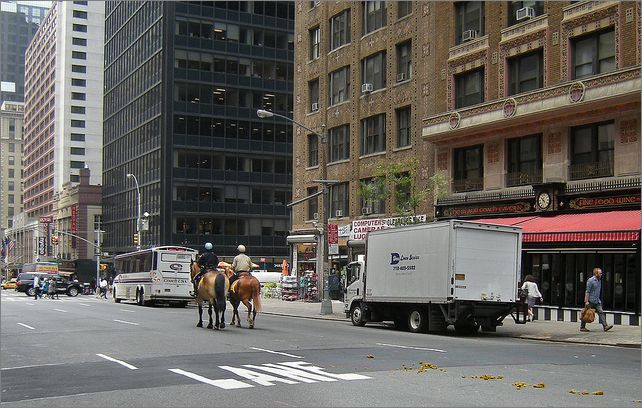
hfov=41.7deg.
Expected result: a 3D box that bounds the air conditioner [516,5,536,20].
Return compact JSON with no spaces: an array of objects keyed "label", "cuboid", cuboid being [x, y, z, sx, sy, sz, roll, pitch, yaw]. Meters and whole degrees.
[{"label":"air conditioner","cuboid":[13.366,-12.491,54.854,1.173,1.018,0.634,-2,-11,17]}]

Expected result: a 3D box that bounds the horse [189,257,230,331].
[{"label":"horse","cuboid":[-6.395,5.033,47.559,1.180,4.026,4.966,-3,-3,-27]}]

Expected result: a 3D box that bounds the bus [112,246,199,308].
[{"label":"bus","cuboid":[-13.572,6.118,66.766,4.011,4.472,11.662,8,-13,-32]}]

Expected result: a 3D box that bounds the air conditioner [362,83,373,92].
[{"label":"air conditioner","cuboid":[3.618,-9.128,66.167,0.563,0.697,0.885,0,-2,-22]}]

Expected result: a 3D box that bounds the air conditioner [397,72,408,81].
[{"label":"air conditioner","cuboid":[6.043,-9.461,62.937,0.952,0.588,0.438,-6,-13,34]}]

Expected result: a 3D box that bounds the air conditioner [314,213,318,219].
[{"label":"air conditioner","cuboid":[-0.438,0.984,70.049,0.360,0.586,0.362,-1,-9,5]}]

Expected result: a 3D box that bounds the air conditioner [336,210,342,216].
[{"label":"air conditioner","cuboid":[1.467,0.736,68.336,0.432,0.365,0.463,0,-4,-2]}]

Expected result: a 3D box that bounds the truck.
[{"label":"truck","cuboid":[5.951,4.207,48.029,4.844,5.366,9.524,6,-8,-34]}]

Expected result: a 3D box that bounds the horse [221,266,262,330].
[{"label":"horse","cuboid":[-4.021,5.402,47.140,1.785,3.643,3.258,-1,3,-9]}]

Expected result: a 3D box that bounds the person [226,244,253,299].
[{"label":"person","cuboid":[-4.575,3.495,47.407,1.145,2.836,1.121,-1,3,-11]}]

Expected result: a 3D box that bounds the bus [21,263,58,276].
[{"label":"bus","cuboid":[-30.494,6.944,90.700,3.186,0.833,2.145,-1,-5,23]}]
